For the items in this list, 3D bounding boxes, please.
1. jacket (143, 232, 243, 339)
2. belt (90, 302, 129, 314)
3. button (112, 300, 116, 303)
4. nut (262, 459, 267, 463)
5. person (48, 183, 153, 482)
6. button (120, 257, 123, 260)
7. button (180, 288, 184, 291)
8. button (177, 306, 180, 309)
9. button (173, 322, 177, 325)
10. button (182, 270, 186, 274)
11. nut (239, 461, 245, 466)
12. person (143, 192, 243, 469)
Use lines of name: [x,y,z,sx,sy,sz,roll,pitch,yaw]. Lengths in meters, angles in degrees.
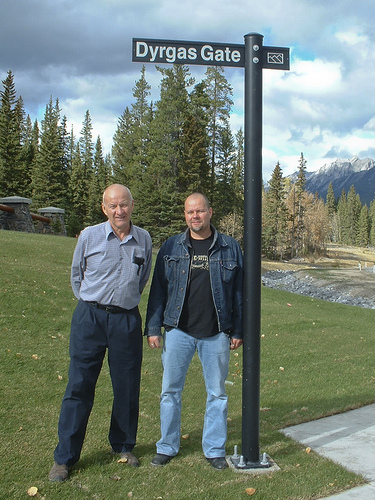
jacket: [0.067,0.318,4.590,0.885,0.927,0.495,2,-9,2]
belt: [-0.609,0.481,4.384,0.245,0.091,0.062,1,0,-9]
button: [-0.600,0.415,4.349,0.027,0.024,0.006,9,2,5]
nut: [0.624,1.702,4.325,0.036,0.019,0.050,1,-1,8]
person: [-0.691,0.591,4.317,0.665,2.421,0.582,1,0,-5]
button: [-0.553,0.070,4.452,0.025,0.016,0.014,-2,3,0]
button: [-0.045,0.333,4.549,0.031,0.029,0.017,0,-6,-2]
button: [-0.076,0.482,4.523,0.023,0.021,0.004,1,0,26]
button: [-0.105,0.616,4.515,0.027,0.025,0.025,0,5,1]
button: [-0.032,0.187,4.573,0.028,0.026,0.015,2,-8,-4]
nut: [0.441,1.703,4.284,0.028,0.031,0.029,-2,-3,33]
person: [0.046,0.625,4.604,0.852,2.285,0.567,1,0,6]
